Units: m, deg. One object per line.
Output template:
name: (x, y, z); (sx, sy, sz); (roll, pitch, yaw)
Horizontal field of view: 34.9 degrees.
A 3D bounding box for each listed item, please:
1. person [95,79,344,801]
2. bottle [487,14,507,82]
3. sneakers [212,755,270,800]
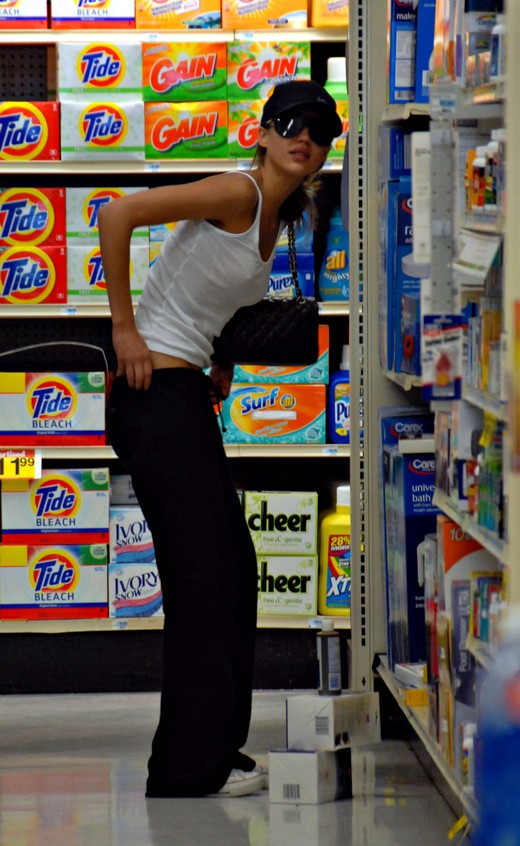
person: (-0.157, 0.181, 1.833); (0.365, 1.388, 0.401); (-1, -3, -8)
bottle: (0.355, -0.555, 1.236); (0.022, 0.117, 0.077); (-2, -3, 17)
sneakers: (-0.043, 0.851, 2.003); (0.052, 0.074, 0.164); (0, 7, 36)
